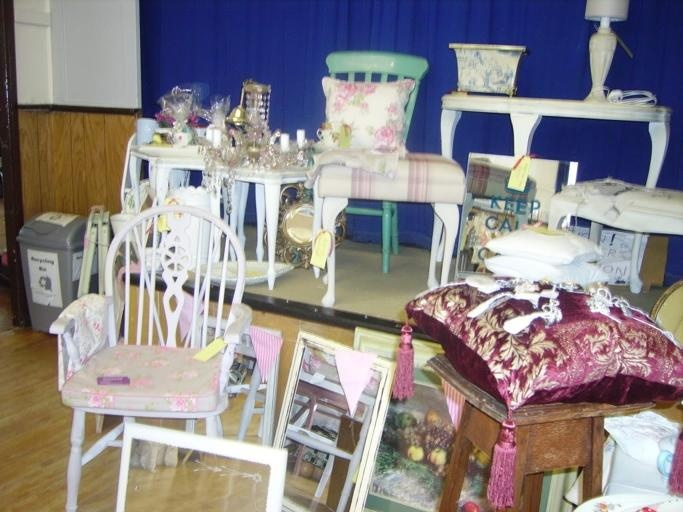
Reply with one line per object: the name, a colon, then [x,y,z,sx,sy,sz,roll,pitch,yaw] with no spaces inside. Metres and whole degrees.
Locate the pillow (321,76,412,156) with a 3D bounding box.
pillow: [0.144,-0.798,3.116,0.489,0.542,0.179,5,-2,10]

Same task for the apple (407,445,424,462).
apple: [0.307,0.817,2.224,0.054,0.063,0.060,-3,20,-22]

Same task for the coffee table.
coffee table: [1.158,-0.342,2.755,0.897,0.932,0.546,4,10,14]

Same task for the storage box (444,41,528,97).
storage box: [0.835,-1.082,3.112,0.419,0.321,0.298,7,21,16]

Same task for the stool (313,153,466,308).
stool: [0.279,-0.291,2.789,0.626,0.769,0.791,7,12,23]
